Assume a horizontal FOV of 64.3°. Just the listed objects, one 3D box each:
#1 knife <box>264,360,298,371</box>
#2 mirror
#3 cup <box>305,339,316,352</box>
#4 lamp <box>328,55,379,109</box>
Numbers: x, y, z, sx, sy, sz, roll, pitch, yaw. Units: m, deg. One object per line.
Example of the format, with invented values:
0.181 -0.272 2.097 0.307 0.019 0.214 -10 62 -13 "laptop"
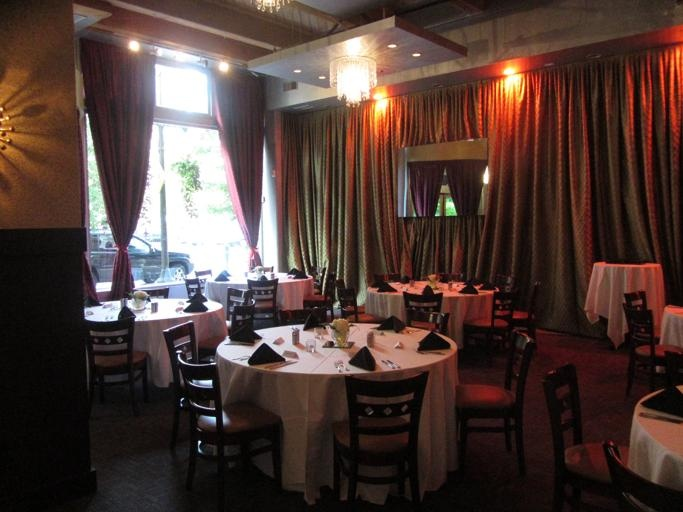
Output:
-0.520 0.938 4.686 0.094 0.029 0.331 1 3 33 "knife"
1.987 -1.545 10.401 1.570 1.204 0.061 5 11 40 "mirror"
-0.286 0.845 5.098 0.086 0.092 0.071 0 -1 -22 "cup"
0.212 -2.636 8.451 0.714 0.668 0.720 4 8 40 "lamp"
